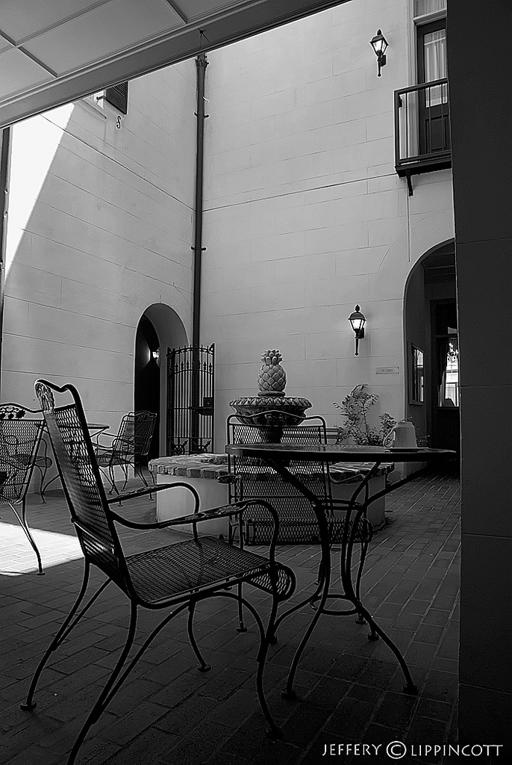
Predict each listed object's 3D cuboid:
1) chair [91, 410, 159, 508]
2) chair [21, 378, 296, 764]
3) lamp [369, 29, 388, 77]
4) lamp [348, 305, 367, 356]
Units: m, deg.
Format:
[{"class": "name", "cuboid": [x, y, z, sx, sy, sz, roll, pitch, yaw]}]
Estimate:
[{"class": "chair", "cuboid": [-1.576, 0.790, 6.170, 0.528, 0.962, 0.645, 0, 6, -38]}, {"class": "chair", "cuboid": [-0.239, 0.408, 1.735, 0.815, 1.309, 0.675, -2, -2, -21]}, {"class": "lamp", "cuboid": [1.632, -4.375, 7.234, 0.226, 0.631, 0.382, -1, -5, 14]}, {"class": "lamp", "cuboid": [1.323, -0.676, 7.145, 0.184, 0.646, 0.238, -1, -5, 18]}]
